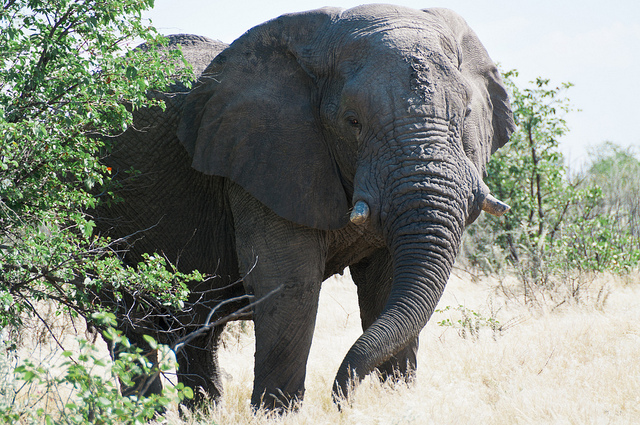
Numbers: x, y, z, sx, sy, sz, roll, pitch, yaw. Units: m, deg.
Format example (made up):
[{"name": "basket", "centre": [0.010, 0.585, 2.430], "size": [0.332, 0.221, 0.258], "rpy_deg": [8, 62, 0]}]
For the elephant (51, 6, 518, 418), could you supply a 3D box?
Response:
[{"name": "elephant", "centre": [-0.941, 0.270, 8.179], "size": [5.595, 4.436, 2.799], "rpy_deg": [-17, -17, 37]}]
